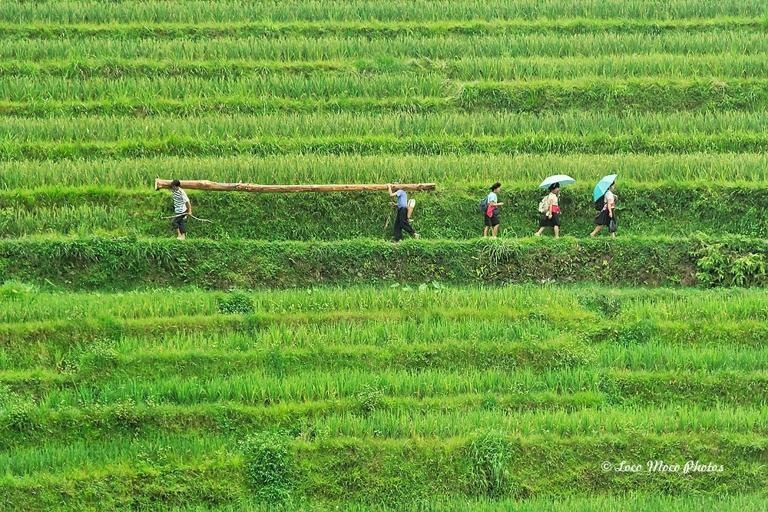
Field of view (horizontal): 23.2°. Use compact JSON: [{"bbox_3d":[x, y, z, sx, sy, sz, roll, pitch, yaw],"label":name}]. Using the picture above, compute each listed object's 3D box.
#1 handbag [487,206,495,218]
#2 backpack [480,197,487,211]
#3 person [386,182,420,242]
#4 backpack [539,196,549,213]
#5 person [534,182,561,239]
[{"bbox_3d":[2.252,-0.964,38.990,0.171,0.178,0.058,3,-1,19],"label":"handbag"},{"bbox_3d":[2.128,-1.131,39.157,0.149,0.202,0.292,11,71,-10],"label":"backpack"},{"bbox_3d":[0.444,-0.876,38.984,0.505,1.113,1.020,-5,38,-1],"label":"person"},{"bbox_3d":[3.406,-1.123,39.249,0.189,0.224,0.455,11,40,12],"label":"backpack"},{"bbox_3d":[3.488,-0.907,39.274,0.507,1.466,1.395,1,38,6],"label":"person"}]
